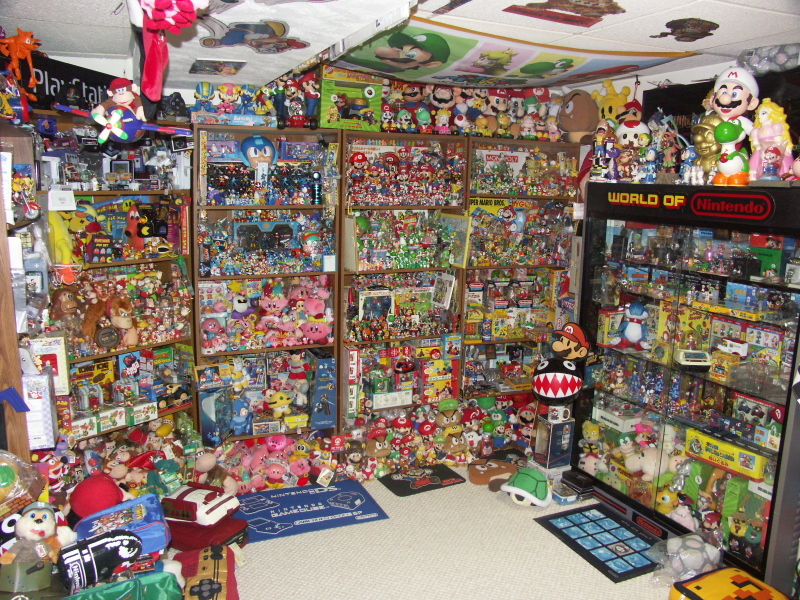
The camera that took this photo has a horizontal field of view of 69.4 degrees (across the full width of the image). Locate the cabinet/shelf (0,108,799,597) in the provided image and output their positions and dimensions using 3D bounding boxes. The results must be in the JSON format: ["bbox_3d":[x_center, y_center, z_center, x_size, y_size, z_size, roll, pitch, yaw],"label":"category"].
[{"bbox_3d":[-0.029,0.412,4.413,3.846,3.148,1.193,-1,4,-10],"label":"cabinet/shelf"}]
